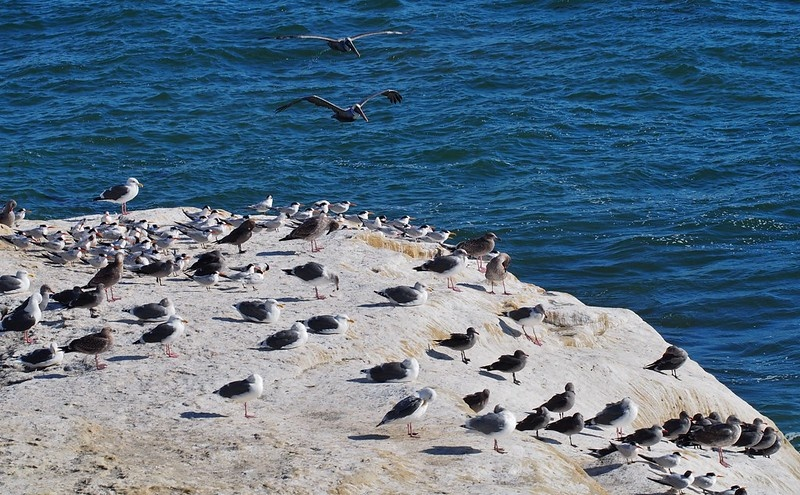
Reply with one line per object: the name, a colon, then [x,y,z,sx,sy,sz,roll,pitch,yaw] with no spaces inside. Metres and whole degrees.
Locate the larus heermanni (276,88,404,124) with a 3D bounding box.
larus heermanni: [-2.855,-8.501,96.803,8.215,4.084,1.006,-1,77,18]
